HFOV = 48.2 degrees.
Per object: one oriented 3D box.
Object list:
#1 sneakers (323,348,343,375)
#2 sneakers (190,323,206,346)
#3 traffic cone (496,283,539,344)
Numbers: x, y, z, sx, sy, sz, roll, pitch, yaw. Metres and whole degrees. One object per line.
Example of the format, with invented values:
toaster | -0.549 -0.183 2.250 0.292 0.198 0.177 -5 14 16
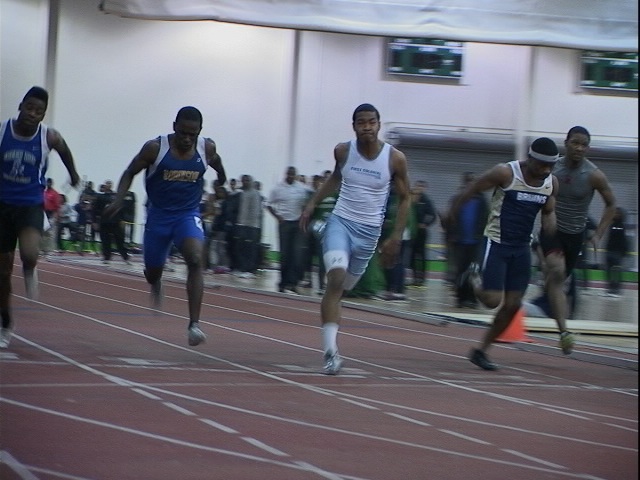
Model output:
sneakers | 0.102 0.947 5.562 0.106 0.139 0.205 2 4 -4
sneakers | -0.982 0.765 5.706 0.130 0.182 0.200 2 6 -12
traffic cone | 2.236 0.928 8.593 0.617 0.696 0.607 -3 -15 44
